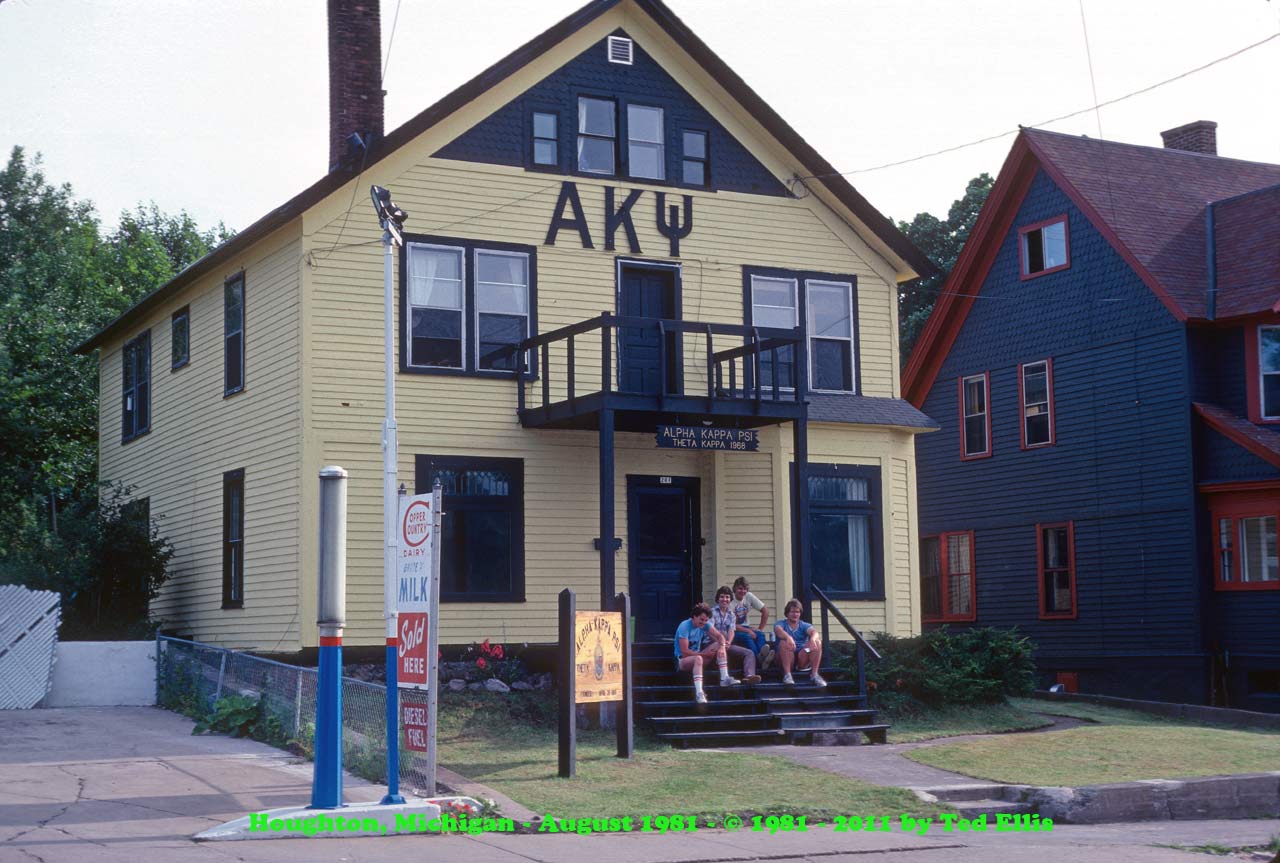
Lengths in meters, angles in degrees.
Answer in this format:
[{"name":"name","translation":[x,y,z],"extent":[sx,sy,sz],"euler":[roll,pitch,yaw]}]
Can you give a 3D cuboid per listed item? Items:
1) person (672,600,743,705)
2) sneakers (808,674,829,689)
[{"name":"person","translation":[1.206,3.726,22.151],"extent":[1.083,1.548,1.260],"euler":[2,3,-17]},{"name":"sneakers","translation":[3.108,4.374,23.085],"extent":[0.147,0.167,0.361],"euler":[3,-7,-22]}]
